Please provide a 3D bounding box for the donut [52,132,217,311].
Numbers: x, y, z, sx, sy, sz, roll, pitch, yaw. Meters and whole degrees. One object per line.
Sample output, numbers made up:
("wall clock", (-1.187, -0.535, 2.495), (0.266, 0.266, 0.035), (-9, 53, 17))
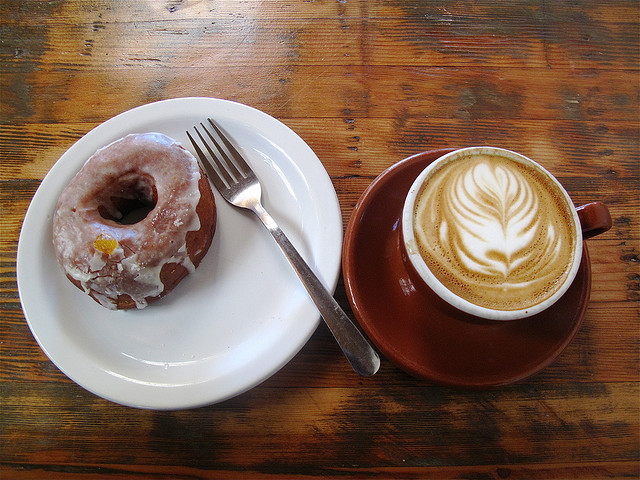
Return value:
("donut", (-0.454, -0.061, 1.698), (0.542, 0.190, 0.452), (-4, 67, 26))
